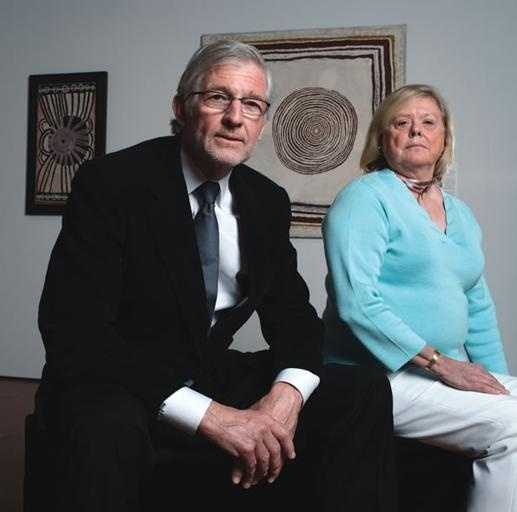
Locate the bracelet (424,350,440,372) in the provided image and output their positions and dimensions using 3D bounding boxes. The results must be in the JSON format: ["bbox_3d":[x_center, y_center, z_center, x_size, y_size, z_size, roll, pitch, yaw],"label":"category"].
[{"bbox_3d":[0.497,0.297,1.752,0.015,0.050,0.045,29,-19,5],"label":"bracelet"}]

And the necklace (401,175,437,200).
[{"bbox_3d":[0.532,-0.230,2.046,0.078,0.044,0.070,10,-2,-5],"label":"necklace"}]
